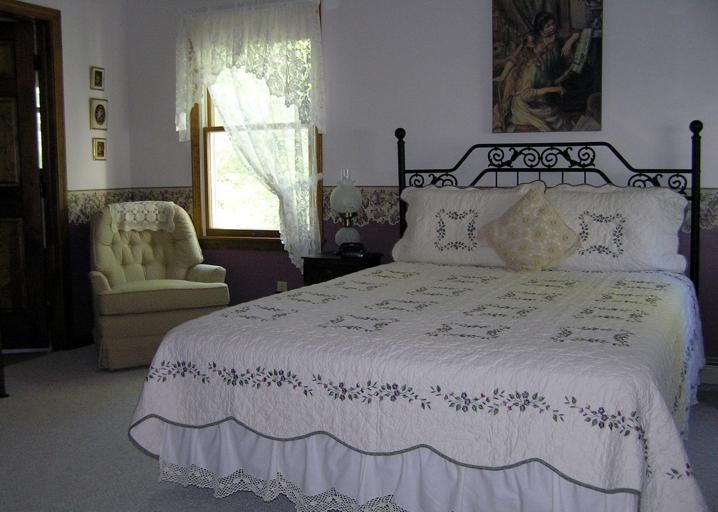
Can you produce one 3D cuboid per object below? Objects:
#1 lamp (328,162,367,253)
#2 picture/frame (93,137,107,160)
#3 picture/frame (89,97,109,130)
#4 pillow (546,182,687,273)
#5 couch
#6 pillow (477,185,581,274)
[{"bbox_3d":[-0.082,-0.333,5.034,0.247,0.686,0.265,-9,-7,13],"label":"lamp"},{"bbox_3d":[-2.316,-0.957,5.524,0.018,0.206,0.187,-1,5,22],"label":"picture/frame"},{"bbox_3d":[-2.311,-1.257,5.482,0.040,0.300,0.294,0,2,16],"label":"picture/frame"},{"bbox_3d":[1.660,-0.170,4.143,0.882,0.653,0.209,2,3,37],"label":"pillow"},{"bbox_3d":[-1.501,0.185,5.157,1.093,1.528,1.242,-3,4,-32],"label":"couch"},{"bbox_3d":[1.189,-0.096,4.186,0.513,0.208,0.616,7,-31,9],"label":"pillow"}]
